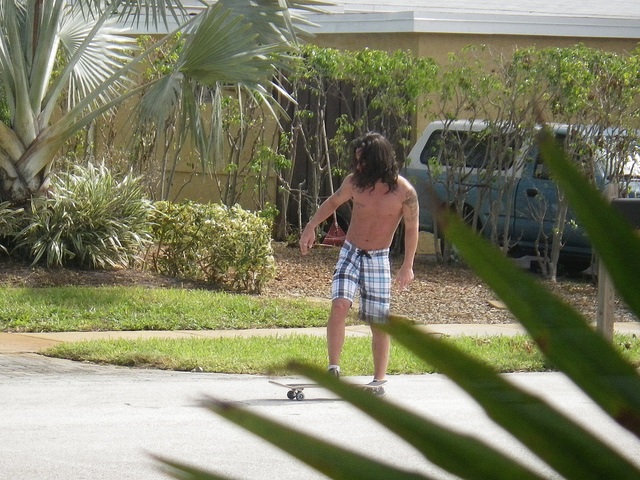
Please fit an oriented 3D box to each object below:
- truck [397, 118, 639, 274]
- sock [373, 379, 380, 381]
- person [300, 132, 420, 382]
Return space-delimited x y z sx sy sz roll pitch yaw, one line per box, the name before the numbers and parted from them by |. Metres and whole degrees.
truck | 2.928 -0.665 14.867 3.587 1.871 2.208 3 4 25
sock | 0.503 1.260 9.214 0.067 0.029 0.024 -1 -6 9
person | 0.423 0.058 9.407 0.997 2.025 0.874 0 9 -13
